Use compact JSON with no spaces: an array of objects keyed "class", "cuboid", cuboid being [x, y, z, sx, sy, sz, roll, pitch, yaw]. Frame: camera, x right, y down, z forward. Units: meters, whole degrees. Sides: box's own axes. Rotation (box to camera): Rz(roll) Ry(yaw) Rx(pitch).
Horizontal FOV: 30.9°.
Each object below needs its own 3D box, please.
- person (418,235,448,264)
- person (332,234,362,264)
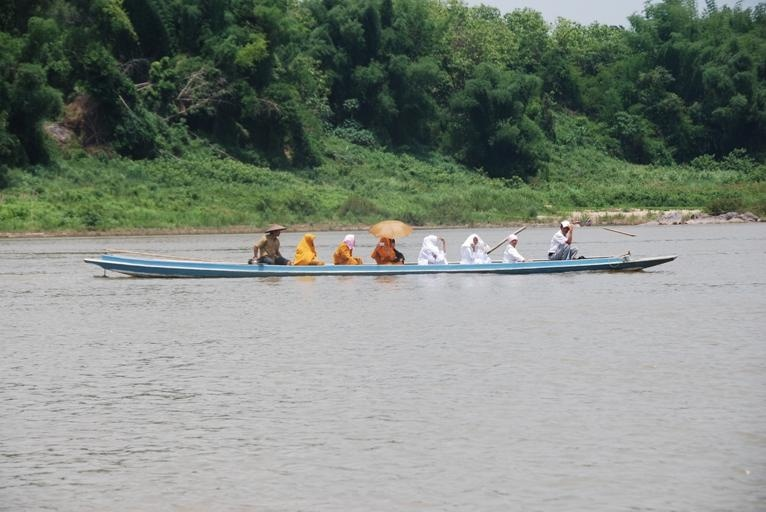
[{"class":"person","cuboid":[2.523,-0.174,70.437,1.248,1.478,1.464,-21,32,-33]},{"class":"person","cuboid":[-1.753,-0.248,67.180,1.356,1.389,1.780,0,7,-1]}]
